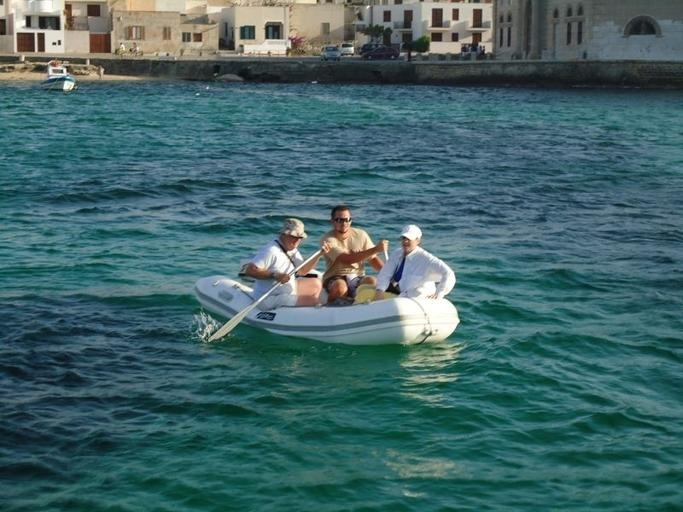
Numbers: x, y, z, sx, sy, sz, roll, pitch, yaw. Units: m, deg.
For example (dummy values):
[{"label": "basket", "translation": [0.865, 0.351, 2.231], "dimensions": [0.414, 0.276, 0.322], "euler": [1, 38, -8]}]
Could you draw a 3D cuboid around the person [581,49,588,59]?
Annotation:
[{"label": "person", "translation": [17.079, -14.037, 65.705], "dimensions": [0.341, 0.653, 0.727], "euler": [0, 8, 10]}]

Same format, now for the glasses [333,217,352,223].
[{"label": "glasses", "translation": [0.024, -0.552, 14.505], "dimensions": [0.262, 0.094, 0.119], "euler": [-2, 7, -12]}]

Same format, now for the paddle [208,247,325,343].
[{"label": "paddle", "translation": [-1.181, 0.684, 15.163], "dimensions": [3.032, 0.286, 0.215], "euler": [-27, 50, -8]}]

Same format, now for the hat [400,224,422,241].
[{"label": "hat", "translation": [1.065, -0.350, 14.337], "dimensions": [0.294, 0.154, 0.392], "euler": [5, -4, 35]}]

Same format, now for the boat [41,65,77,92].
[{"label": "boat", "translation": [-17.960, -11.110, 59.856], "dimensions": [1.544, 1.198, 4.082], "euler": [-3, 4, -25]}]

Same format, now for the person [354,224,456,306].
[{"label": "person", "translation": [0.990, 0.195, 14.469], "dimensions": [1.730, 0.979, 1.009], "euler": [1, 16, -41]}]

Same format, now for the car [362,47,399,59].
[{"label": "car", "translation": [3.189, -16.057, 74.700], "dimensions": [3.311, 0.609, 1.156], "euler": [-1, 11, -10]}]
